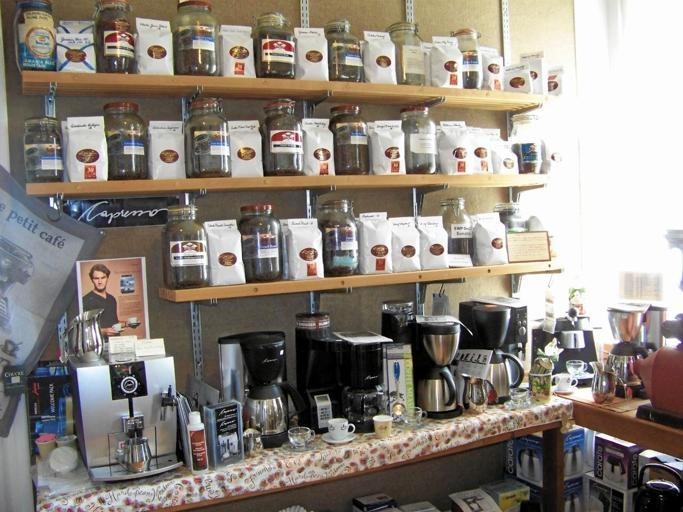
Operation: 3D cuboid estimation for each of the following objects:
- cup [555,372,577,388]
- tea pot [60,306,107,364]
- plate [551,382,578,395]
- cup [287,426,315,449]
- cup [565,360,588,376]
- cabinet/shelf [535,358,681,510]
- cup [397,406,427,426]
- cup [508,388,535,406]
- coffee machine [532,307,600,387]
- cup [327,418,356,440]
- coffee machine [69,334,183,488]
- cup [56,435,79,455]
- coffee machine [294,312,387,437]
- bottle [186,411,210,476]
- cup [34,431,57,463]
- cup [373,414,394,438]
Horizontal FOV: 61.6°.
[{"bbox_3d":[1.203,0.660,3.052,0.115,0.080,0.073,2,-4,-29],"label":"cup"},{"bbox_3d":[-1.047,0.335,2.362,0.251,0.250,0.152,-2,2,-15],"label":"tea pot"},{"bbox_3d":[1.177,0.691,3.064,0.087,0.056,0.086,-2,1,-12],"label":"plate"},{"bbox_3d":[-0.180,0.790,2.493,0.079,0.063,0.099,0,-5,2],"label":"cup"},{"bbox_3d":[1.260,0.589,3.092,0.076,0.064,0.100,-1,1,35],"label":"cup"},{"bbox_3d":[1.272,0.876,2.981,0.509,0.619,0.658,-2,8,-21],"label":"cabinet/shelf"},{"bbox_3d":[0.326,0.757,2.694,0.099,0.070,0.076,7,-15,-16],"label":"cup"},{"bbox_3d":[0.896,0.712,2.885,0.086,0.039,0.085,-3,-1,0],"label":"cup"},{"bbox_3d":[1.243,0.495,3.143,0.333,0.478,0.398,-1,0,-16],"label":"coffee machine"},{"bbox_3d":[-0.001,0.761,2.586,0.121,0.077,0.089,1,-8,-12],"label":"cup"},{"bbox_3d":[-0.848,0.637,2.341,0.365,0.448,0.520,-1,-2,-28],"label":"coffee machine"},{"bbox_3d":[-1.138,0.782,2.382,0.070,0.058,0.068,0,0,0],"label":"cup"},{"bbox_3d":[-0.003,0.541,2.836,0.460,0.628,0.496,-2,2,-30],"label":"coffee machine"},{"bbox_3d":[-0.576,0.744,2.300,0.076,0.252,0.067,-5,4,-17],"label":"bottle"},{"bbox_3d":[-1.222,0.798,2.379,0.094,0.091,0.093,1,-3,0],"label":"cup"},{"bbox_3d":[0.185,0.767,2.573,0.081,0.069,0.087,0,-5,0],"label":"cup"}]
